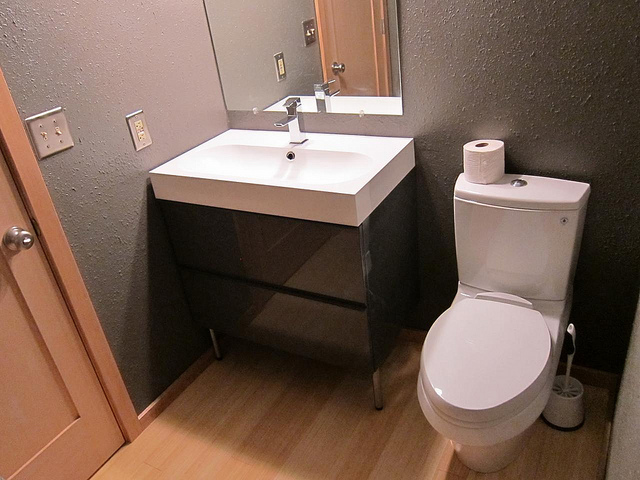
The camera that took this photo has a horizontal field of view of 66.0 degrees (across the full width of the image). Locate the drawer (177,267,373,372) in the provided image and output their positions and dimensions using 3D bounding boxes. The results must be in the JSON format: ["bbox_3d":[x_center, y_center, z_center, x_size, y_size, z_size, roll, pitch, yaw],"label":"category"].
[{"bbox_3d":[-0.148,0.329,2.076,0.781,0.375,0.413,10,37,20],"label":"drawer"}]

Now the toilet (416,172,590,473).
[{"bbox_3d":[0.706,0.318,1.824,0.494,1.036,0.935,12,42,28],"label":"toilet"}]

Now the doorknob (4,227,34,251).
[{"bbox_3d":[-1.015,-0.003,1.665,0.055,0.078,0.074,13,34,31],"label":"doorknob"}]

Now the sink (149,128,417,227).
[{"bbox_3d":[-0.143,-0.301,2.074,1.011,0.169,0.532,8,32,23],"label":"sink"}]
